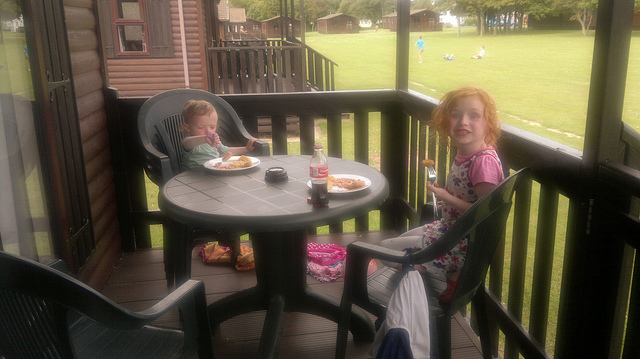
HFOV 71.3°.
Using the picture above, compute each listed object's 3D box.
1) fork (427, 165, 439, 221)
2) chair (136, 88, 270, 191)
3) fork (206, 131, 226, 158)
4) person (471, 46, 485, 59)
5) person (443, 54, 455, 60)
[{"bbox_3d":[0.785,0.075,3.080,0.078,0.438,0.062,-6,3,-42],"label":"fork"},{"bbox_3d":[-1.171,-0.430,4.112,0.955,0.730,0.779,-17,25,-34],"label":"chair"},{"bbox_3d":[-0.907,-0.302,3.882,0.061,0.310,0.060,-38,14,-5],"label":"fork"},{"bbox_3d":[15.267,-12.351,43.103,0.548,1.099,1.702,14,26,39],"label":"person"},{"bbox_3d":[13.089,-12.654,45.661,0.788,0.325,0.793,2,8,-10],"label":"person"}]
